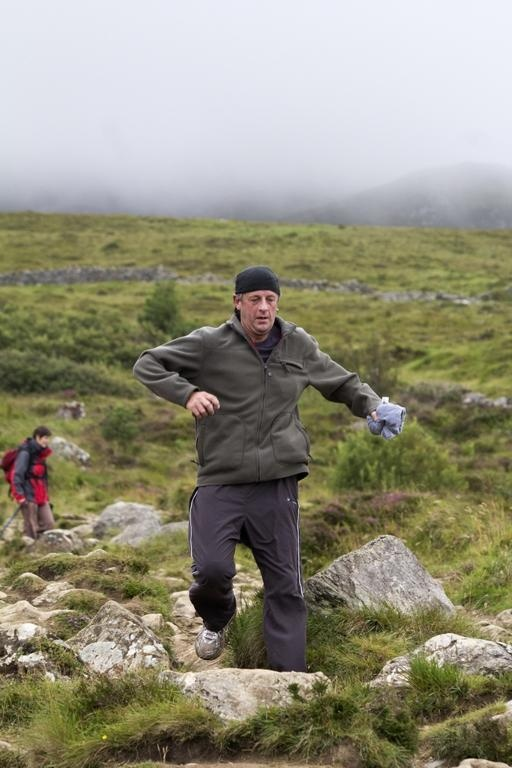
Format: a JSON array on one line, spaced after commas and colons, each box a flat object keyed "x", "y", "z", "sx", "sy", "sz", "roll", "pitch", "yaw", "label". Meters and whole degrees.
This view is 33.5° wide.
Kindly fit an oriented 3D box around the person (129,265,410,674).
[{"x": -0.013, "y": 0.538, "z": 5.351, "sx": 1.522, "sy": 2.508, "sz": 0.735, "roll": 2, "pitch": 0, "yaw": -8, "label": "person"}]

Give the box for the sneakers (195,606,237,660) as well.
[{"x": -0.283, "y": 1.675, "z": 5.681, "sx": 0.178, "sy": 0.156, "sz": 0.459, "roll": 10, "pitch": 11, "yaw": 9, "label": "sneakers"}]

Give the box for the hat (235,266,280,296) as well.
[{"x": 0.029, "y": -0.637, "z": 5.376, "sx": 0.219, "sy": 0.123, "sz": 0.218, "roll": 5, "pitch": 6, "yaw": 34, "label": "hat"}]
